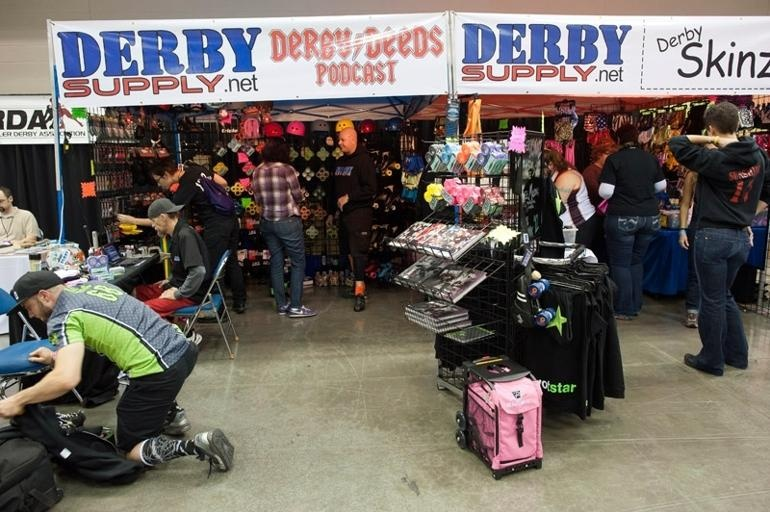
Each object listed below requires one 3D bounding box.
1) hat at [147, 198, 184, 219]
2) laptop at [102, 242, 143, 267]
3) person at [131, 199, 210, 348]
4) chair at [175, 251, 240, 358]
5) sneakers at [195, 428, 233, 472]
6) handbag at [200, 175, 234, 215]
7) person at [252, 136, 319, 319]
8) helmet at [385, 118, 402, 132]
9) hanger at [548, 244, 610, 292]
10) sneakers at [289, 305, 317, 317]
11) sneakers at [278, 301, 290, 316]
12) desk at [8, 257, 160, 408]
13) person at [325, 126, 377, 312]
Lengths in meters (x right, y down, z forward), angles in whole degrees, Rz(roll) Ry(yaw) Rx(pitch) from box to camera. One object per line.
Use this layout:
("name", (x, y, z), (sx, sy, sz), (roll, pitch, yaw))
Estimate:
("hat", (-2.410, -0.544, 5.871), (0.320, 0.169, 0.207), (-9, 17, -18))
("laptop", (-3.182, 0.036, 6.542), (0.337, 0.209, 0.431), (-7, 13, -3))
("person", (-2.452, 0.238, 6.167), (0.935, 1.759, 0.965), (-2, 10, -20))
("chair", (-2.134, 0.561, 6.395), (0.833, 1.160, 0.782), (-8, 10, -34))
("sneakers", (-1.397, 1.634, 4.580), (0.400, 0.180, 0.179), (23, -11, 48))
("handbag", (-2.297, -0.843, 7.339), (0.466, 0.575, 0.255), (-8, 15, -26))
("person", (-1.380, -0.384, 7.492), (0.747, 2.427, 0.442), (10, 18, 38))
("helmet", (0.137, -2.066, 8.433), (0.218, 0.166, 0.172), (-6, 8, 9))
("hanger", (1.795, 0.172, 4.969), (0.458, 0.460, 0.165), (10, -19, 10))
("sneakers", (-1.163, 0.769, 7.627), (0.365, 0.157, 0.155), (-1, 3, -12))
("sneakers", (-1.445, 0.744, 7.664), (0.177, 0.221, 0.519), (0, -4, -8))
("desk", (-2.314, 0.649, 4.411), (1.278, 0.952, 0.966), (4, 13, -6))
("person", (-0.433, -0.688, 8.140), (0.573, 2.679, 1.487), (-4, 14, -9))
